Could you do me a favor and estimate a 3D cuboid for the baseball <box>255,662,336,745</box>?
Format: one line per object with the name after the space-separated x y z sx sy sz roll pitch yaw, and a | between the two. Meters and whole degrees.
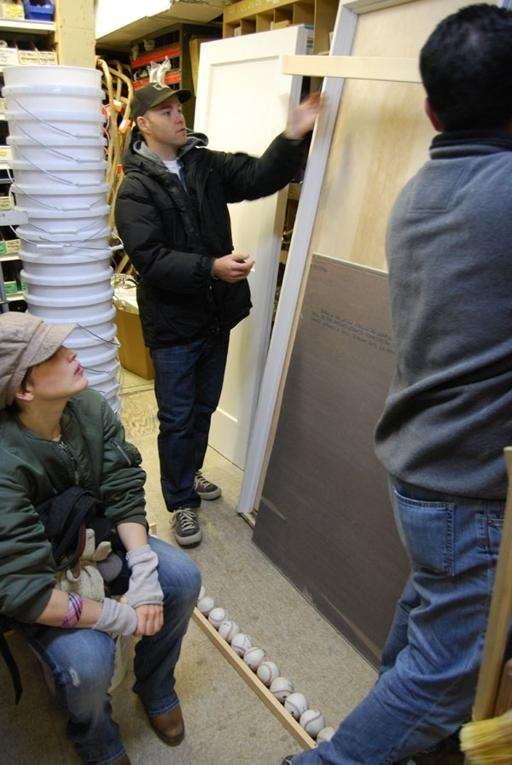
0.109 0.932 1.634 0.082 0.074 0.294 24 6 -39 | baseball
